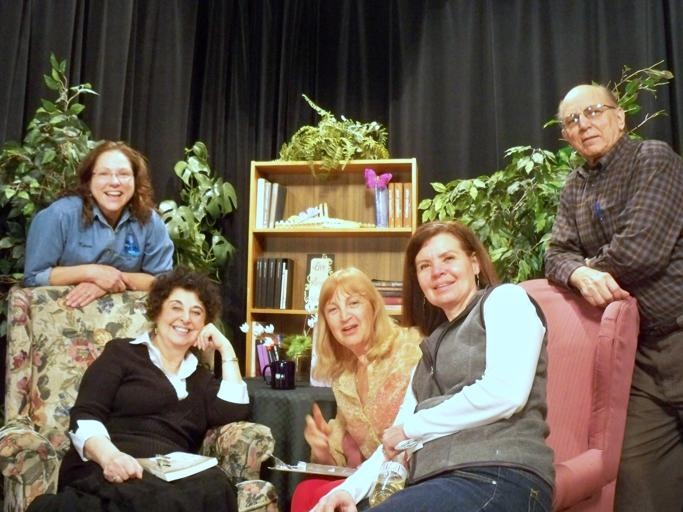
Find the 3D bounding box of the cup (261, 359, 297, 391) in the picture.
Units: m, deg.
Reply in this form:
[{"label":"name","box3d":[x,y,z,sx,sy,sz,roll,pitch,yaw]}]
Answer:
[{"label":"cup","box3d":[-0.296,0.565,2.732,0.155,0.127,0.105,0,-6,-3]}]

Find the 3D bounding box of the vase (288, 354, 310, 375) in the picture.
[{"label":"vase","box3d":[-0.209,0.541,2.908,0.086,0.104,0.084,1,0,45]}]

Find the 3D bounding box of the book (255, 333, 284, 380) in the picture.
[{"label":"book","box3d":[-0.380,0.505,2.947,0.136,0.276,0.247,3,-7,-33]}]

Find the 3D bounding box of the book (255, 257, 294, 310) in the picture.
[{"label":"book","box3d":[-0.450,0.198,4.058,0.265,0.450,0.309,1,-6,9]}]

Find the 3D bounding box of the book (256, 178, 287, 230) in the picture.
[{"label":"book","box3d":[-0.484,-0.352,3.955,0.119,0.366,0.352,3,0,15]}]

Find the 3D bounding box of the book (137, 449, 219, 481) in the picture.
[{"label":"book","box3d":[-0.628,0.789,2.168,0.275,0.069,0.193,-4,-5,21]}]

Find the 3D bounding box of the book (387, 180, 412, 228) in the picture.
[{"label":"book","box3d":[0.384,-0.346,3.806,0.217,0.359,0.239,0,-2,3]}]

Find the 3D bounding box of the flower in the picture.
[{"label":"flower","box3d":[-0.350,0.435,3.053,0.355,0.279,0.347,-5,-4,39]}]

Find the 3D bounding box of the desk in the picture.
[{"label":"desk","box3d":[-0.224,0.829,2.704,0.402,0.551,0.434,1,1,26]}]
